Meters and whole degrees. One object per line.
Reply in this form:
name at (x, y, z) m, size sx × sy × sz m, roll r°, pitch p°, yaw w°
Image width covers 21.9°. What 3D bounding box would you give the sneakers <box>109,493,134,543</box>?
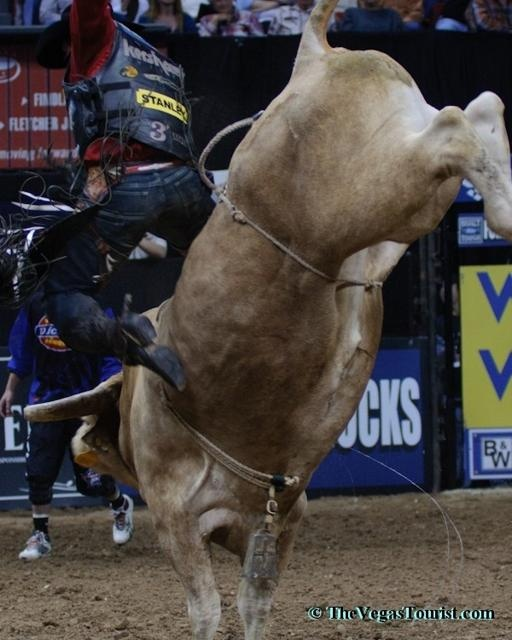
sneakers at (-0.819, 1.166, 7.873) m, size 0.107 × 0.305 × 0.153 m, roll -4°, pitch -10°, yaw 31°
